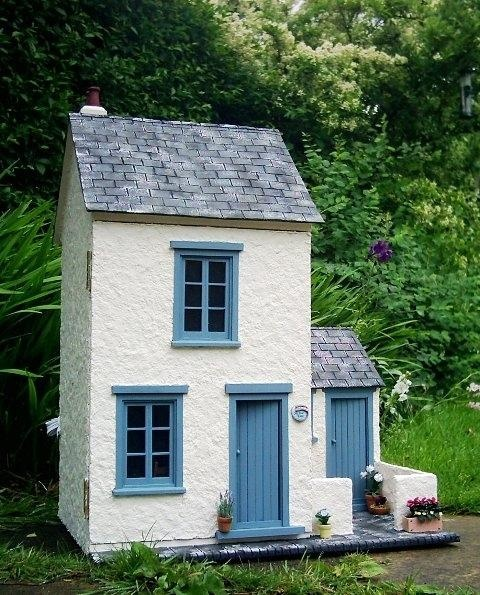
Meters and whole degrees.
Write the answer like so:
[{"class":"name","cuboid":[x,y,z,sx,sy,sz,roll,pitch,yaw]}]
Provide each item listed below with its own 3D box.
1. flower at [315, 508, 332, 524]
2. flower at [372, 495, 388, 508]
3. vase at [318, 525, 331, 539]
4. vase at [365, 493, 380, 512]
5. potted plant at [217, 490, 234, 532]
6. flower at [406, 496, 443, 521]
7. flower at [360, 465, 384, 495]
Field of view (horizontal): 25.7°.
[{"class":"flower","cuboid":[0.913,2.403,11.592,0.149,0.099,0.145,0,-20,4]},{"class":"flower","cuboid":[1.684,2.454,12.715,0.149,0.163,0.123,2,-12,-5]},{"class":"vase","cuboid":[0.925,2.553,11.509,0.141,0.113,0.132,0,-12,-4]},{"class":"vase","cuboid":[1.593,2.467,12.713,0.194,0.195,0.180,2,-18,2]},{"class":"potted plant","cuboid":[-0.158,2.275,11.136,0.168,0.440,0.141,-1,-6,-4]},{"class":"flower","cuboid":[2.078,2.365,11.843,0.278,0.149,0.251,-1,1,-3]},{"class":"flower","cuboid":[1.602,2.215,12.810,0.309,0.340,0.245,-5,-7,29]}]
